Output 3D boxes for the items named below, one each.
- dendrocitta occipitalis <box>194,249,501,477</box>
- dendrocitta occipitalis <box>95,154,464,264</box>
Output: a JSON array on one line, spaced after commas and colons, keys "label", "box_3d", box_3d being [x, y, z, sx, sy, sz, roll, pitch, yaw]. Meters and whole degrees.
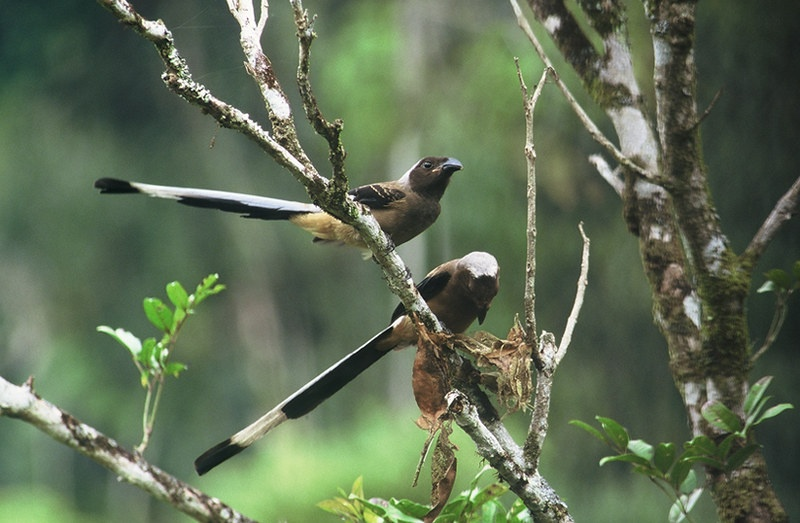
[{"label": "dendrocitta occipitalis", "box_3d": [-0.322, 0.640, 6.266, 1.702, 0.503, 0.387, -32, -80, -9]}, {"label": "dendrocitta occipitalis", "box_3d": [-0.760, -0.291, 6.307, 1.517, 0.584, 0.349, 3, -35, 4]}]
